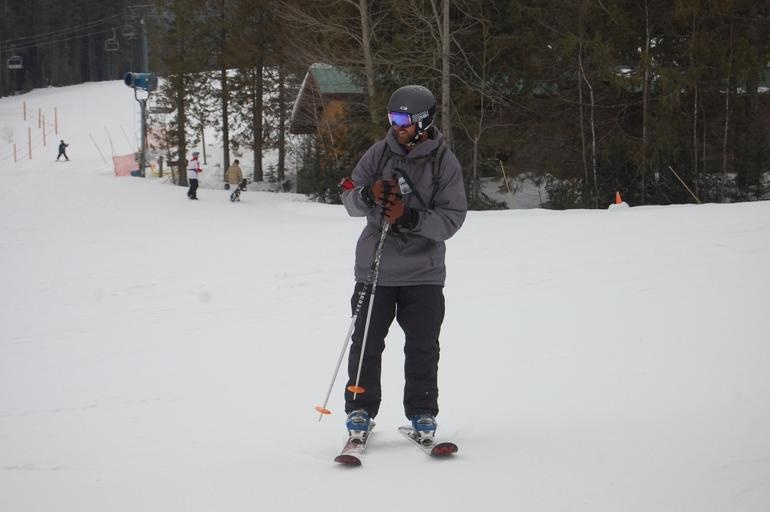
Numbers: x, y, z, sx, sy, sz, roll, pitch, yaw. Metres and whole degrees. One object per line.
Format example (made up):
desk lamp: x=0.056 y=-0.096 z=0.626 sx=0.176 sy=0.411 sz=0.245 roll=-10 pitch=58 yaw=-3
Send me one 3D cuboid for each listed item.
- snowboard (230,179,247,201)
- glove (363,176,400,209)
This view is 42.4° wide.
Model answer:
snowboard: x=-4.441 y=-1.994 z=29.743 sx=0.255 sy=0.663 sz=0.484 roll=29 pitch=15 yaw=13
glove: x=-0.075 y=-0.834 z=13.093 sx=0.475 sy=0.393 sz=0.224 roll=8 pitch=9 yaw=35
